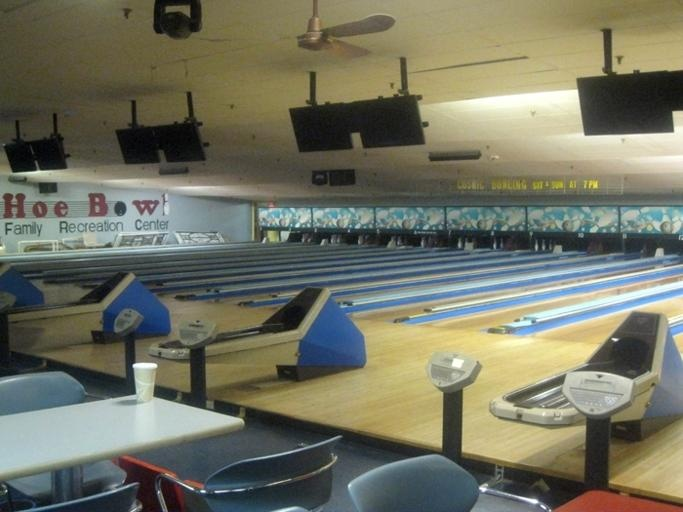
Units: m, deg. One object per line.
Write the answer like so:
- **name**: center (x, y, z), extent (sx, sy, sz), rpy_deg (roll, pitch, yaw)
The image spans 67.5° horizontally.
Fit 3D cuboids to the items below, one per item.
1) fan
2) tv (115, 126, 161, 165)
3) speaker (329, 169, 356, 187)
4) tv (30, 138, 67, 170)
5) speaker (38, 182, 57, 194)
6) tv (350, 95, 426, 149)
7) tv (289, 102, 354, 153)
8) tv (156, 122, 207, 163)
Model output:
- **fan**: center (-0.016, -1.528, 3.240), extent (0.532, 0.396, 0.812), rpy_deg (-3, 4, -6)
- **tv**: center (-2.797, -1.568, 7.243), extent (0.716, 0.535, 0.150), rpy_deg (4, 27, 19)
- **speaker**: center (0.028, -1.913, 12.401), extent (0.720, 0.361, 0.148), rpy_deg (2, 13, 15)
- **tv**: center (-4.611, -1.645, 8.304), extent (0.709, 0.534, 0.146), rpy_deg (8, 29, 17)
- **speaker**: center (-9.315, -2.174, 16.169), extent (0.446, 0.341, 0.219), rpy_deg (2, -6, -38)
- **tv**: center (0.524, -1.462, 5.613), extent (0.729, 0.563, 0.153), rpy_deg (-1, 32, 24)
- **tv**: center (-0.218, -1.486, 5.981), extent (0.916, 0.518, 0.167), rpy_deg (2, 35, 27)
- **tv**: center (-2.103, -1.509, 6.932), extent (0.749, 0.562, 0.161), rpy_deg (4, 27, 21)
